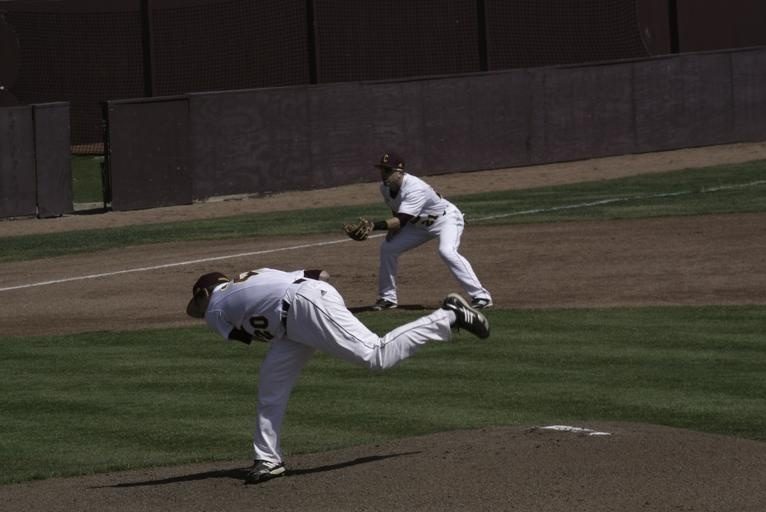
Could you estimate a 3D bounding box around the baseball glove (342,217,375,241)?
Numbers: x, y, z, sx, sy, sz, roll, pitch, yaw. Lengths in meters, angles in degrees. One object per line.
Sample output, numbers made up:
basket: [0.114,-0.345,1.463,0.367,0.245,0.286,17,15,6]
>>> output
baseball glove: [-0.471,-0.474,29.912,0.529,0.323,0.678,-26,15,-3]

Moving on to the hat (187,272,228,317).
hat: [-3.124,0.662,26.844,0.454,0.842,0.604,39,15,11]

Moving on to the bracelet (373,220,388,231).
bracelet: [-0.067,-0.568,30.591,0.428,0.153,0.160,4,-28,-36]
